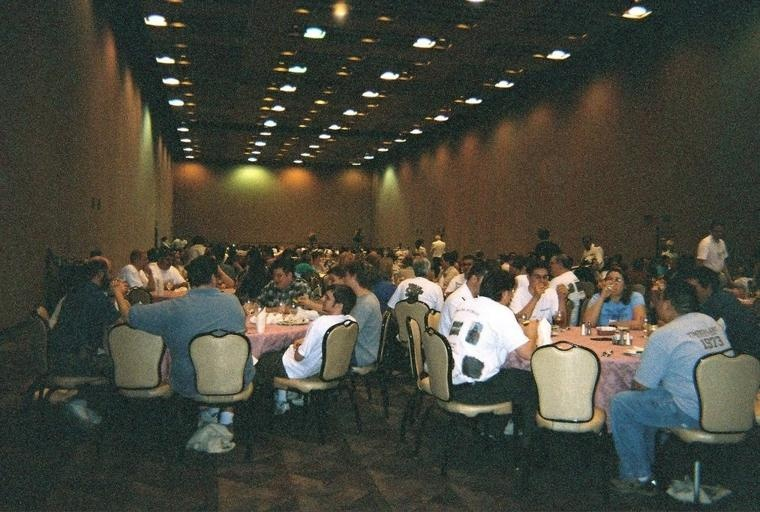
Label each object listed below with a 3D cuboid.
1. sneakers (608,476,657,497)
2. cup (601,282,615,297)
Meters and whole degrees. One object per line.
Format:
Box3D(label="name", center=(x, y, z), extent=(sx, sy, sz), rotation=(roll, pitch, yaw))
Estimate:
Box3D(label="sneakers", center=(2.134, 1.941, 5.378), extent=(0.372, 0.151, 0.146), rotation=(3, -4, 2))
Box3D(label="cup", center=(2.386, 0.363, 6.635), extent=(0.053, 0.142, 0.106), rotation=(20, -2, -7))
